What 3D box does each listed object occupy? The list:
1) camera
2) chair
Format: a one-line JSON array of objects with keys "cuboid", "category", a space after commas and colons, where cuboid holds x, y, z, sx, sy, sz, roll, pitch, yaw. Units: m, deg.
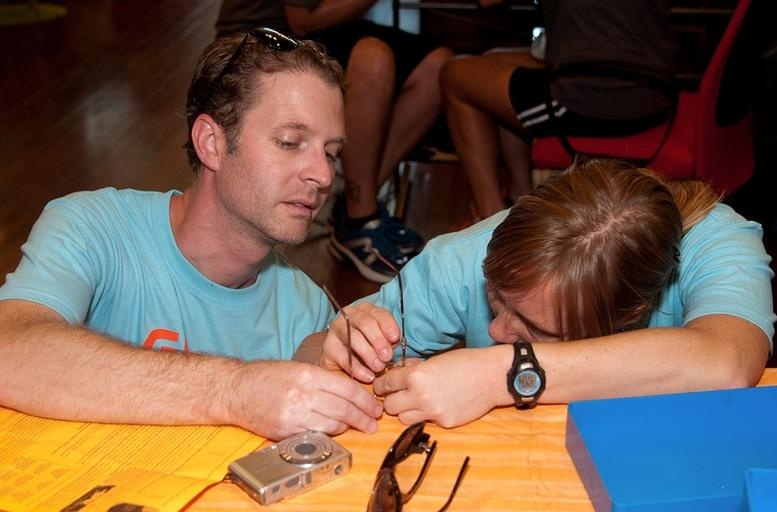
[{"cuboid": [-0.186, 0.389, 1.116, 0.173, 0.046, 0.109, -13, 28, -31], "category": "camera"}, {"cuboid": [0.905, -0.564, 2.134, 0.577, 0.775, 0.554, 29, 54, 25], "category": "chair"}]
